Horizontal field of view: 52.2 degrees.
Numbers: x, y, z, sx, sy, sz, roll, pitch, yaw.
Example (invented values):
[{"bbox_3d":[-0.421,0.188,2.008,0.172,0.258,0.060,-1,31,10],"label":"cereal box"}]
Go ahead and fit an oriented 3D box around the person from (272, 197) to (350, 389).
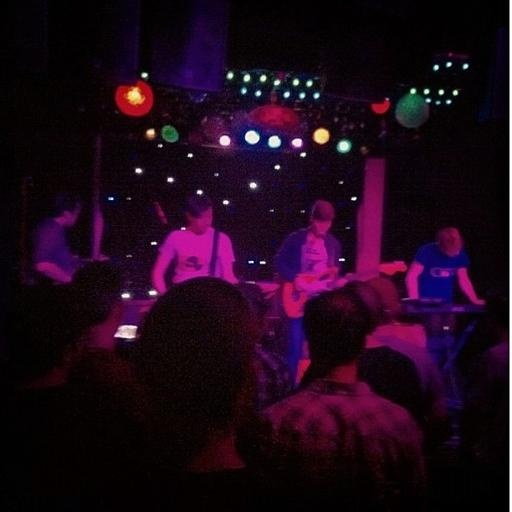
[{"bbox_3d":[0.334,0.240,3.323,0.333,1.191,0.298,-6,27,-12],"label":"person"}]
